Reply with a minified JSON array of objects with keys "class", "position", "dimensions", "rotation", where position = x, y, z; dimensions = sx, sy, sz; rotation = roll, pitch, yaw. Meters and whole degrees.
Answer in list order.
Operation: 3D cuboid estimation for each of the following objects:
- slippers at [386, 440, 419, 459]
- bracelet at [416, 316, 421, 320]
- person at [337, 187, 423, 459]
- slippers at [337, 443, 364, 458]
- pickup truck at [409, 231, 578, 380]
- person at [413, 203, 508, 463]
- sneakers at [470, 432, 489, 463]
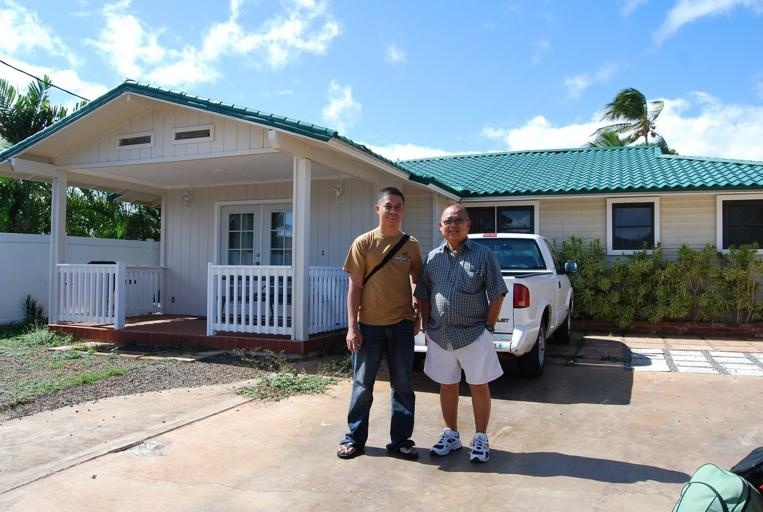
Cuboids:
[{"class":"slippers","position":[0.233,2.081,5.804],"dimensions":[0.154,0.123,0.303],"rotation":[3,-8,-25]},{"class":"bracelet","position":[0.402,0.681,5.968],"dimensions":[0.047,0.050,0.048],"rotation":[-1,-5,-1]},{"class":"person","position":[-0.008,0.705,5.855],"dimensions":[0.909,2.858,0.518],"rotation":[0,6,-2]},{"class":"slippers","position":[-0.355,2.081,5.789],"dimensions":[0.122,0.089,0.289],"rotation":[0,-10,6]},{"class":"pickup truck","position":[2.418,0.653,9.235],"dimensions":[1.668,1.426,3.660],"rotation":[-2,-5,20]},{"class":"person","position":[0.824,0.803,5.786],"dimensions":[0.929,2.684,0.539],"rotation":[1,6,9]},{"class":"sneakers","position":[1.043,2.010,5.721],"dimensions":[0.254,0.281,0.217],"rotation":[0,6,-5]}]
